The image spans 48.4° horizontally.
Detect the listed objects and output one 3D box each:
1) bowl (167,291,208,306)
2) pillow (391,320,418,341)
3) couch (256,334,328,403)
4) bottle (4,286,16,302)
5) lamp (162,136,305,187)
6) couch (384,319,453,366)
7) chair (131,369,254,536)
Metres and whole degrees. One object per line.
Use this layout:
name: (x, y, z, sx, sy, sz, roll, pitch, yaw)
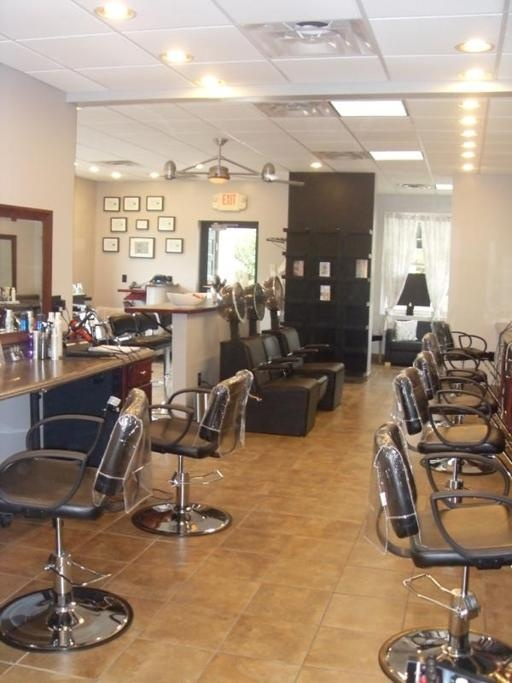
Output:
bowl: (-0.685, -0.412, 5.652, 0.286, 0.103, 0.268, -4, 5, 0)
pillow: (2.618, -0.175, 9.980, 0.388, 0.348, 0.128, 2, -1, 6)
couch: (0.251, 0.342, 5.722, 0.731, 0.704, 0.670, 10, 11, 17)
bottle: (-1.589, -0.312, 3.680, 0.082, 0.079, 0.078, 1, -2, -3)
lamp: (-0.363, -2.056, 6.459, 1.726, 0.514, 1.604, 1, 17, 0)
couch: (2.852, 0.079, 9.782, 0.618, 0.829, 1.125, 4, 0, -36)
chair: (-0.367, 0.607, 3.151, 0.611, 0.811, 0.525, 3, 2, 22)
